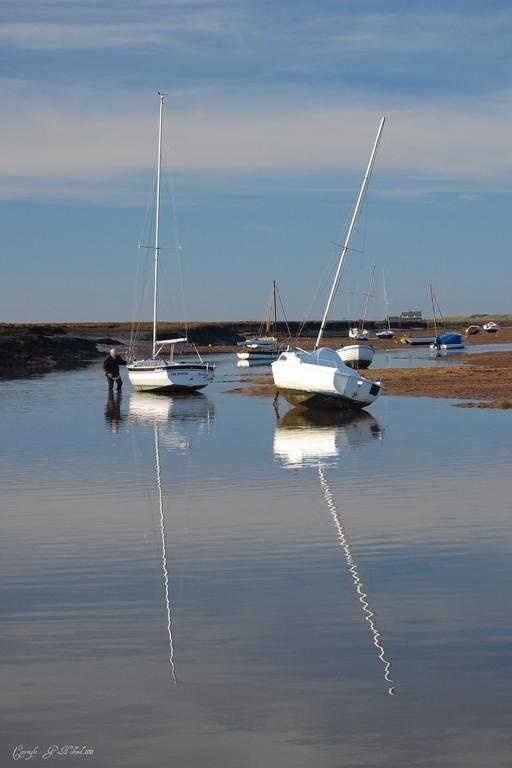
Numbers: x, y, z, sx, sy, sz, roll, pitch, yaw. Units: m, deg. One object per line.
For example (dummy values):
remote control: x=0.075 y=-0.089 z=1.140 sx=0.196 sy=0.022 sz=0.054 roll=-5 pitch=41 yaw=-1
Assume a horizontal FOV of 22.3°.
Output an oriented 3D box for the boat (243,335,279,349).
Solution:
boat: x=0.173 y=-3.193 z=93.787 sx=1.036 sy=1.058 sz=3.707 roll=-1 pitch=-4 yaw=-32
